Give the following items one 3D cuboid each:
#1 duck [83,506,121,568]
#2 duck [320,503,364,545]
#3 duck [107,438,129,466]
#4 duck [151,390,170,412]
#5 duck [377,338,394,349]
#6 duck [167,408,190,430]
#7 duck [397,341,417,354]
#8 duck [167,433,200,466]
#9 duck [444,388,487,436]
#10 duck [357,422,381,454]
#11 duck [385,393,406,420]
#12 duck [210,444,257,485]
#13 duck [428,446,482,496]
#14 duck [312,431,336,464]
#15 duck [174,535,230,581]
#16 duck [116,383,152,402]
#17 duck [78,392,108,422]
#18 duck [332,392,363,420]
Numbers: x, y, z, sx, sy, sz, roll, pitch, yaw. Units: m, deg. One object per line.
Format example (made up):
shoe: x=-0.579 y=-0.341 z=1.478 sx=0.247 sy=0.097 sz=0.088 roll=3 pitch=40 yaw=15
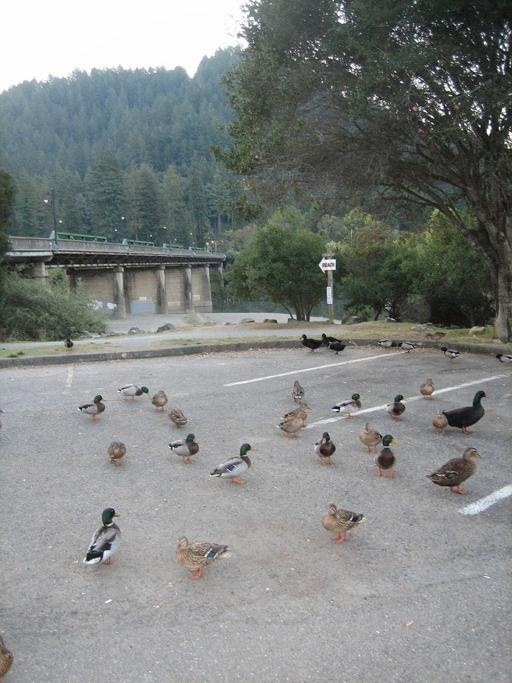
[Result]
duck: x=-1.159 y=1.471 z=4.415 sx=0.222 sy=0.374 sz=0.446 roll=-1 pitch=0 yaw=10
duck: x=0.713 y=1.493 z=4.871 sx=0.324 sy=0.321 sz=0.339 roll=-2 pitch=5 yaw=0
duck: x=-1.657 y=1.329 z=6.994 sx=0.178 sy=0.203 sz=0.345 roll=-1 pitch=-7 yaw=-14
duck: x=-1.641 y=1.012 z=9.931 sx=0.270 sy=0.255 sz=0.370 roll=-1 pitch=4 yaw=-19
duck: x=4.060 y=0.076 z=18.325 sx=0.258 sy=0.233 sz=0.373 roll=-7 pitch=12 yaw=-39
duck: x=-1.194 y=1.131 z=8.693 sx=0.167 sy=0.268 sz=0.488 roll=-2 pitch=-3 yaw=-22
duck: x=4.480 y=0.178 z=17.417 sx=0.391 sy=0.261 sz=0.450 roll=-5 pitch=9 yaw=-38
duck: x=-0.895 y=1.283 z=7.104 sx=0.327 sy=0.366 sz=0.384 roll=-3 pitch=5 yaw=-7
duck: x=2.945 y=1.000 z=8.306 sx=0.793 sy=0.569 sz=0.399 roll=-3 pitch=4 yaw=3
duck: x=1.449 y=1.242 z=7.514 sx=0.239 sy=0.324 sz=0.419 roll=-1 pitch=4 yaw=24
duck: x=2.155 y=0.996 z=9.067 sx=0.254 sy=0.396 sz=0.477 roll=-2 pitch=5 yaw=12
duck: x=-0.242 y=1.361 z=6.355 sx=0.534 sy=0.398 sz=0.266 roll=-9 pitch=16 yaw=-28
duck: x=1.997 y=1.293 z=5.916 sx=0.574 sy=0.424 sz=0.276 roll=-2 pitch=6 yaw=-11
duck: x=0.814 y=1.254 z=7.004 sx=0.212 sy=0.371 sz=0.375 roll=-2 pitch=5 yaw=3
duck: x=-0.411 y=1.555 z=4.307 sx=0.360 sy=0.338 sz=0.319 roll=-4 pitch=5 yaw=-19
duck: x=-2.332 y=0.948 z=10.794 sx=0.621 sy=0.352 sz=0.298 roll=9 pitch=6 yaw=17
duck: x=-2.639 y=1.052 z=9.340 sx=0.603 sy=0.473 sz=0.331 roll=-2 pitch=7 yaw=18
duck: x=1.403 y=1.025 z=9.120 sx=0.401 sy=0.370 sz=0.613 roll=-1 pitch=5 yaw=13
